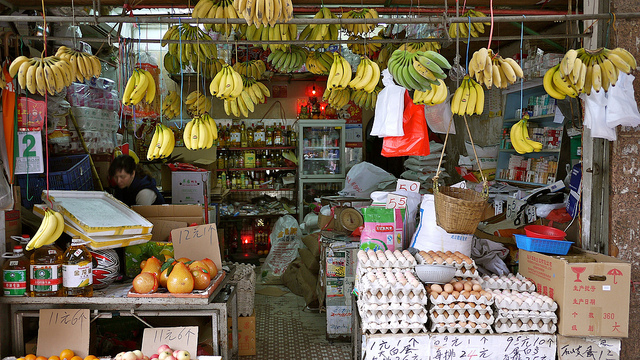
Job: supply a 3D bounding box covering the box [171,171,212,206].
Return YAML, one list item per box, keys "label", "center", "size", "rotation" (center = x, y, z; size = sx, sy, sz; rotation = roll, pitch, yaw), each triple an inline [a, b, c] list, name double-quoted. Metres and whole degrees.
- label: "box"
  center: [-1.925, 0.137, 8.439]
  size: [0.486, 0.504, 0.482]
  rotation: [0, -5, -5]

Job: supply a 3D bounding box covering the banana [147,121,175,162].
- label: "banana"
  center: [-1.676, -0.411, 6.021]
  size: [0.207, 0.436, 0.153]
  rotation: [-1, -2, -1]

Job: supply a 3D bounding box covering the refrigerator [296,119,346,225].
- label: "refrigerator"
  center: [0.039, -0.023, 10.057]
  size: [0.931, 2.085, 0.637]
  rotation: [4, -30, -5]

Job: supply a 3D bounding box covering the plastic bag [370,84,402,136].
- label: "plastic bag"
  center: [0.752, -0.786, 6.244]
  size: [0.354, 0.567, 0.155]
  rotation: [-2, 10, 8]

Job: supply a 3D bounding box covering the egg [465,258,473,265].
- label: "egg"
  center: [1.537, 0.841, 5.755]
  size: [0.071, 0.043, 0.055]
  rotation: [-5, 10, -7]

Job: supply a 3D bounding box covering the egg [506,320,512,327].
- label: "egg"
  center: [1.896, 1.438, 5.575]
  size: [0.046, 0.067, 0.027]
  rotation: [-4, 10, -1]

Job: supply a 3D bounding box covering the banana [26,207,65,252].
- label: "banana"
  center: [-2.767, 0.513, 5.569]
  size: [0.222, 0.384, 0.201]
  rotation: [20, -19, 41]

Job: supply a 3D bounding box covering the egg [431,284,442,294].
- label: "egg"
  center: [1.163, 1.082, 5.580]
  size: [0.098, 0.082, 0.083]
  rotation: [35, 33, -19]

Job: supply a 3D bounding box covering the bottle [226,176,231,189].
- label: "bottle"
  center: [-1.632, 0.040, 10.055]
  size: [0.072, 0.216, 0.117]
  rotation: [-4, 10, -2]

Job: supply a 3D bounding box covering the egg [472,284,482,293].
- label: "egg"
  center: [1.576, 1.080, 5.589]
  size: [0.075, 0.065, 0.064]
  rotation: [-31, 40, -5]

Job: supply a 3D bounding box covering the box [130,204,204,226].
- label: "box"
  center: [-1.658, 0.372, 6.339]
  size: [0.600, 0.270, 0.175]
  rotation: [1, -1, -1]

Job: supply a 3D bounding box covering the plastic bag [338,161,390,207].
- label: "plastic bag"
  center: [0.634, 0.037, 8.448]
  size: [0.759, 0.520, 0.518]
  rotation: [-10, 7, -4]

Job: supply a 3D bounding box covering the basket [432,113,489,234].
- label: "basket"
  center: [1.448, -0.176, 5.683]
  size: [0.550, 1.412, 0.494]
  rotation: [9, 9, 41]

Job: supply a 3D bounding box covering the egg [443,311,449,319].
- label: "egg"
  center: [1.255, 1.340, 5.546]
  size: [0.026, 0.083, 0.009]
  rotation: [-7, -6, 32]

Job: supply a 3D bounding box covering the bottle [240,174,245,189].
- label: "bottle"
  center: [-1.377, 0.022, 10.052]
  size: [0.063, 0.258, 0.068]
  rotation: [-3, 10, 1]

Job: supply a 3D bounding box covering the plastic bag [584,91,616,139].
- label: "plastic bag"
  center: [2.967, -0.647, 5.888]
  size: [0.198, 0.622, 0.193]
  rotation: [-1, 2, 20]

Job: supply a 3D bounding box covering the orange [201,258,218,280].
- label: "orange"
  center: [-1.160, 0.934, 5.929]
  size: [0.139, 0.195, 0.218]
  rotation: [-3, 10, 1]

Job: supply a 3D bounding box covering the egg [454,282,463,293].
- label: "egg"
  center: [1.392, 1.076, 5.593]
  size: [0.069, 0.084, 0.070]
  rotation: [-3, 16, -20]

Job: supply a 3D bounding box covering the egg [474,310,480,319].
- label: "egg"
  center: [1.565, 1.340, 5.550]
  size: [0.054, 0.080, 0.018]
  rotation: [-4, -2, 8]

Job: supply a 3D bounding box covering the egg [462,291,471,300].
- label: "egg"
  center: [1.459, 1.148, 5.544]
  size: [0.055, 0.038, 0.066]
  rotation: [4, -5, 0]

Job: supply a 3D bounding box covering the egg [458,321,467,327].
- label: "egg"
  center: [1.423, 1.427, 5.527]
  size: [0.075, 0.055, 0.028]
  rotation: [-6, 10, -14]

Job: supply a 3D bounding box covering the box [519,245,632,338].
- label: "box"
  center: [2.655, 1.123, 5.904]
  size: [0.757, 0.895, 1.427]
  rotation: [0, 4, -1]

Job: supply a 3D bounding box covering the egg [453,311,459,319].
- label: "egg"
  center: [1.359, 1.338, 5.534]
  size: [0.044, 0.067, 0.016]
  rotation: [-5, 10, -11]

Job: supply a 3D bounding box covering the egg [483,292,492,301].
- label: "egg"
  center: [1.669, 1.160, 5.546]
  size: [0.062, 0.052, 0.065]
  rotation: [0, 4, -17]

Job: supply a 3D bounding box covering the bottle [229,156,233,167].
- label: "bottle"
  center: [-1.581, -0.327, 10.006]
  size: [0.063, 0.164, 0.059]
  rotation: [-3, 10, 1]

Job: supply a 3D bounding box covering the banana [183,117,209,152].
- label: "banana"
  center: [-1.330, -0.490, 6.021]
  size: [0.217, 0.372, 0.122]
  rotation: [-6, -18, -6]

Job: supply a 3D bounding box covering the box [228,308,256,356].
- label: "box"
  center: [-0.927, 1.814, 6.607]
  size: [0.277, 0.552, 0.278]
  rotation: [0, -1, 20]

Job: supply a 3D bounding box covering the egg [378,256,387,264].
- label: "egg"
  center: [0.664, 0.828, 5.763]
  size: [0.056, 0.039, 0.068]
  rotation: [-5, 17, -16]

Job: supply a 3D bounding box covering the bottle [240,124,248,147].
- label: "bottle"
  center: [-1.364, -0.802, 10.046]
  size: [0.134, 0.384, 0.197]
  rotation: [-4, 10, -4]

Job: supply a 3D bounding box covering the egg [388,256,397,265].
- label: "egg"
  center: [0.753, 0.832, 5.782]
  size: [0.087, 0.072, 0.059]
  rotation: [-5, 10, -9]

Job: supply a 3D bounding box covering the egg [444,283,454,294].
- label: "egg"
  center: [1.289, 1.082, 5.567]
  size: [0.081, 0.099, 0.083]
  rotation: [1, 15, 35]

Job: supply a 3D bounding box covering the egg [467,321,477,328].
- label: "egg"
  center: [1.510, 1.430, 5.526]
  size: [0.067, 0.052, 0.038]
  rotation: [41, 34, 8]

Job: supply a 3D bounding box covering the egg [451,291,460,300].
- label: "egg"
  center: [1.356, 1.140, 5.548]
  size: [0.062, 0.063, 0.074]
  rotation: [17, 22, -18]

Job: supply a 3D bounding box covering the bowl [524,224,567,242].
- label: "bowl"
  center: [2.411, 0.567, 5.952]
  size: [0.268, 0.117, 0.262]
  rotation: [1, 10, 0]

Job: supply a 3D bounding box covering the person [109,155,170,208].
- label: "person"
  center: [-2.344, -0.003, 7.138]
  size: [0.735, 0.652, 0.452]
  rotation: [6, 14, 42]

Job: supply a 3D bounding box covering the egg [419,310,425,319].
- label: "egg"
  center: [1.019, 1.335, 5.545]
  size: [0.052, 0.058, 0.031]
  rotation: [-7, 11, -20]

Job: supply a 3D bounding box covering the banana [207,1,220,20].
- label: "banana"
  center: [-1.178, -1.923, 6.237]
  size: [0.144, 0.176, 0.073]
  rotation: [-7, 11, -17]

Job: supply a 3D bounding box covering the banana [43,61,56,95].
- label: "banana"
  center: [-2.720, -1.038, 5.645]
  size: [0.084, 0.332, 0.105]
  rotation: [-7, 9, -1]

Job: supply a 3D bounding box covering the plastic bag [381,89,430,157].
- label: "plastic bag"
  center: [0.948, -0.651, 6.246]
  size: [0.661, 0.949, 0.366]
  rotation: [2, 9, 20]

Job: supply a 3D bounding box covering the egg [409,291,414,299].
- label: "egg"
  center: [0.913, 1.144, 5.546]
  size: [0.038, 0.066, 0.039]
  rotation: [-12, 13, -41]
